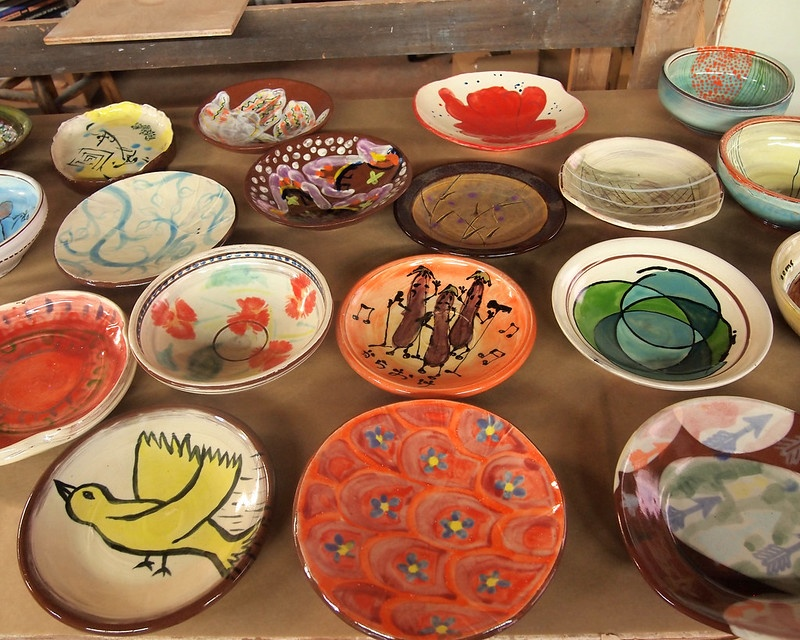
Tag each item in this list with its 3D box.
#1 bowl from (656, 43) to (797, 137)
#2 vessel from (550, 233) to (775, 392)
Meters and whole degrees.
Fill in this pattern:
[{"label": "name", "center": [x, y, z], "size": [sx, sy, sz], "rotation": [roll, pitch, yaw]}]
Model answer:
[{"label": "bowl", "center": [0.664, -0.494, 1.436], "size": [0.322, 0.111, 0.241], "rotation": [7, 47, 11]}, {"label": "vessel", "center": [0.405, -0.014, 1.189], "size": [0.348, 0.100, 0.263], "rotation": [11, 53, 15]}]
